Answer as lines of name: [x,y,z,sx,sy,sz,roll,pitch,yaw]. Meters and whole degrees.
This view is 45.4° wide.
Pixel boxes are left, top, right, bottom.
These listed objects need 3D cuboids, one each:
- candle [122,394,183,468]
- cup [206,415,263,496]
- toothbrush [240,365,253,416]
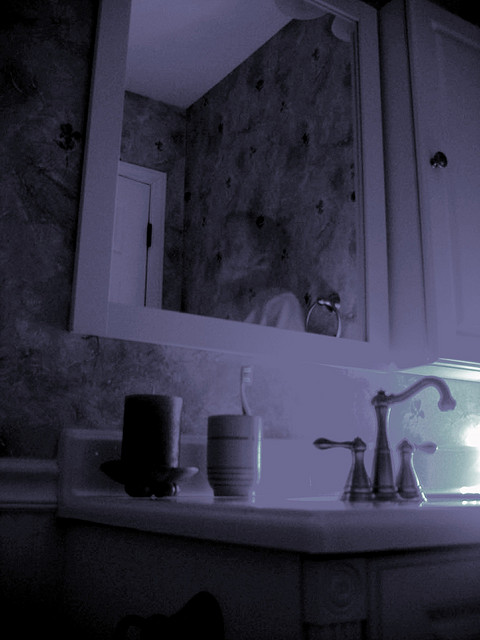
candle: [-0.116,0.146,0.790,0.081,0.113,0.090,3,-11,2]
cup: [-0.001,0.192,0.855,0.098,0.159,0.091,1,-22,1]
toothbrush: [0.012,0.125,1.045,0.028,0.017,0.125,-6,-52,-4]
